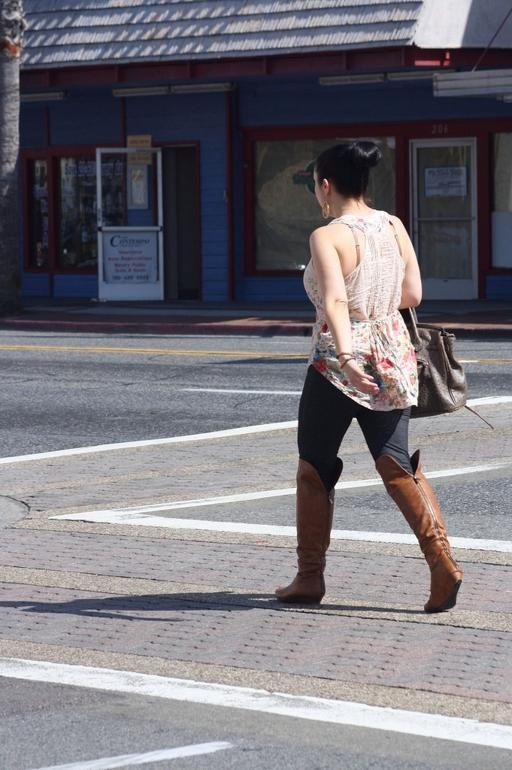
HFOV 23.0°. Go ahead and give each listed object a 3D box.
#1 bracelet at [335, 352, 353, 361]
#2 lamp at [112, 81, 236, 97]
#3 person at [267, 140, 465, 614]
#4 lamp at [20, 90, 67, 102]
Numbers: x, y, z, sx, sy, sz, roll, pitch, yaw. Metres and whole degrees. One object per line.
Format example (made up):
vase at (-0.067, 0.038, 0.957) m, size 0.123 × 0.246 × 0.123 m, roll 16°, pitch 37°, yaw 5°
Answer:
bracelet at (0.287, -0.084, 4.090) m, size 0.054 × 0.030 × 0.043 m, roll 1°, pitch 8°, yaw 12°
lamp at (-1.330, -4.690, 20.544) m, size 2.136 × 0.177 × 0.570 m, roll 3°, pitch 9°, yaw 24°
person at (0.423, -0.004, 4.423) m, size 0.653 × 1.643 × 0.686 m, roll -3°, pitch 7°, yaw -11°
lamp at (-3.667, -4.896, 21.904) m, size 1.183 × 0.152 × 0.436 m, roll 6°, pitch 11°, yaw 41°
